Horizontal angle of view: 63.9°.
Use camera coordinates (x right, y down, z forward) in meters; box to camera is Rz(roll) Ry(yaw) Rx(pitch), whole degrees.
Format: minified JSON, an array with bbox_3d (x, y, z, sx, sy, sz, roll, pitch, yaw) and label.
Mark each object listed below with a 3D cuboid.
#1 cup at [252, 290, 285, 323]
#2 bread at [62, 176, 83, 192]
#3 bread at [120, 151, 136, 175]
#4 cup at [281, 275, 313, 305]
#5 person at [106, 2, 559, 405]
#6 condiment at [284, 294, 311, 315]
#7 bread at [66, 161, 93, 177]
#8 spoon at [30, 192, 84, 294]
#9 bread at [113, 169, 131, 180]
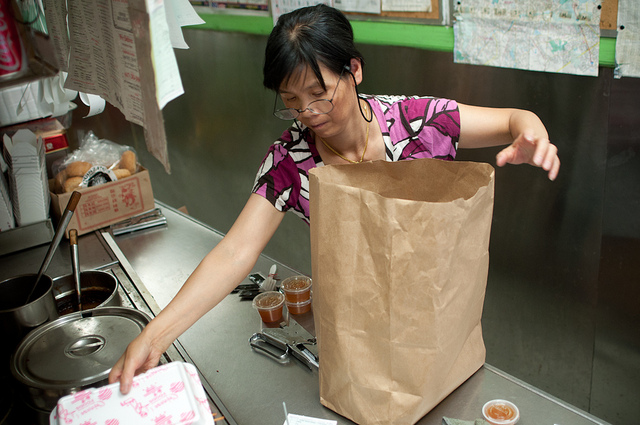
[{"bbox_3d":[-0.176,0.339,1.814,0.109,0.081,0.117,-8,13,2],"label":"cup"},{"bbox_3d":[-1.120,-0.124,2.308,0.123,0.065,0.049,4,23,13],"label":"bread"},{"bbox_3d":[-0.915,-0.239,2.415,0.055,0.039,0.120,-4,63,-5],"label":"bread"},{"bbox_3d":[-0.092,0.271,1.837,0.085,0.058,0.093,-3,22,1],"label":"cup"},{"bbox_3d":[0.016,-0.158,1.680,1.416,0.946,0.624,-10,24,-19],"label":"person"},{"bbox_3d":[-0.076,0.318,1.816,0.062,0.035,0.065,-4,6,-19],"label":"condiment"},{"bbox_3d":[-1.106,-0.195,2.320,0.071,0.042,0.077,4,15,13],"label":"bread"},{"bbox_3d":[-1.065,0.128,2.059,0.030,0.432,0.032,26,15,16],"label":"spoon"},{"bbox_3d":[-0.920,-0.180,2.378,0.048,0.023,0.051,-4,66,-40],"label":"bread"}]
